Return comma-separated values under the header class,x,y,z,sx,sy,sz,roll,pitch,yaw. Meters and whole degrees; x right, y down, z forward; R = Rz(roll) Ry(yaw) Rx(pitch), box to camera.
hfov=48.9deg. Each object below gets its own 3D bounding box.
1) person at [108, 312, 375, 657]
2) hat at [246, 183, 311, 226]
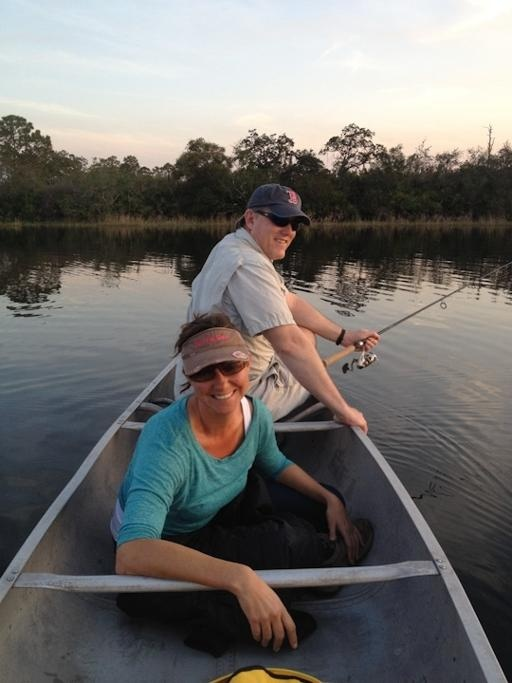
class,x,y,z,sx,sy,sz,roll,pitch,yaw
person,-0.065,0.402,1.738,0.642,0.947,0.927,7,16,26
hat,0.103,-0.653,2.748,0.280,0.136,0.193,16,16,33
